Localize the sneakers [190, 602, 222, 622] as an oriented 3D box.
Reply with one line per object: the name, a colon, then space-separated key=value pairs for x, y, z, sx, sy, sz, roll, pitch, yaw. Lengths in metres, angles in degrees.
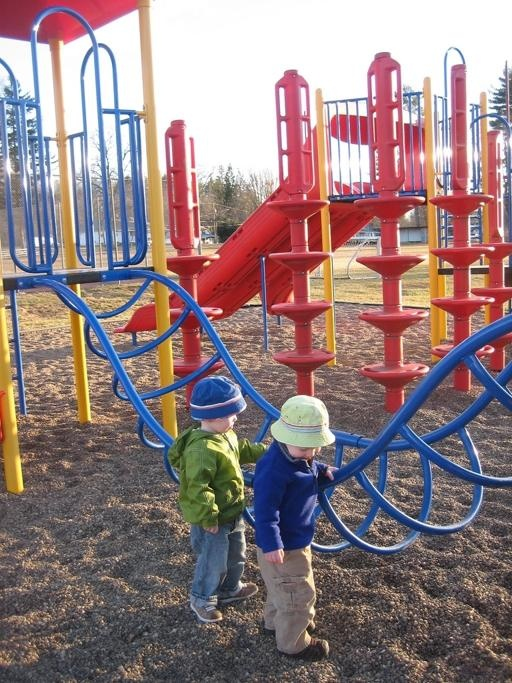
sneakers: x=-0.188 y=1.014 z=2.525 sx=0.048 sy=0.045 sz=0.115 roll=-1 pitch=10 yaw=-43

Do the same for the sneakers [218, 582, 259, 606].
sneakers: x=-0.069 y=1.000 z=2.693 sx=0.175 sy=0.060 sz=0.056 roll=-14 pitch=11 yaw=-22

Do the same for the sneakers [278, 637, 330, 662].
sneakers: x=0.163 y=1.040 z=2.305 sx=0.167 sy=0.061 sz=0.057 roll=-4 pitch=1 yaw=3

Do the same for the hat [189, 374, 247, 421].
hat: x=-0.136 y=0.215 z=2.623 sx=0.188 sy=0.106 sz=0.191 roll=7 pitch=17 yaw=44

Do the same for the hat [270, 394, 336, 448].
hat: x=0.163 y=0.280 z=2.358 sx=0.196 sy=0.092 sz=0.187 roll=0 pitch=9 yaw=-12
